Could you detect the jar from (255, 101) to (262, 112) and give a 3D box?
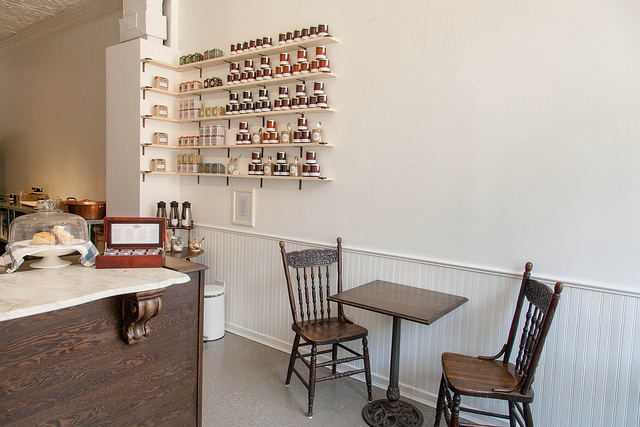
[{"bbox_3d":[-0.595,-1.039,4.287,0.099,0.094,0.095,1,2,0],"label":"jar"}]

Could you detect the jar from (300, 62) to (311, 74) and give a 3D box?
[{"bbox_3d":[-0.133,-1.330,4.011,0.094,0.104,0.076,0,14,-5],"label":"jar"}]

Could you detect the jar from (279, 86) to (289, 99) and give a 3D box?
[{"bbox_3d":[-0.345,-1.153,4.178,0.078,0.119,0.097,1,14,-3],"label":"jar"}]

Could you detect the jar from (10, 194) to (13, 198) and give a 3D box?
[{"bbox_3d":[-4.591,-0.270,6.593,0.055,0.092,0.054,0,-3,0],"label":"jar"}]

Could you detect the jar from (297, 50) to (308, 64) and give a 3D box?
[{"bbox_3d":[-0.164,-1.452,4.046,0.117,0.114,0.112,1,0,0],"label":"jar"}]

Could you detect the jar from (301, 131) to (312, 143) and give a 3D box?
[{"bbox_3d":[-0.129,-0.709,4.053,0.087,0.102,0.067,1,14,-3],"label":"jar"}]

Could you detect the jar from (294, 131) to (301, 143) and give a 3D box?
[{"bbox_3d":[-0.212,-0.710,4.084,0.047,0.113,0.087,-4,15,-22],"label":"jar"}]

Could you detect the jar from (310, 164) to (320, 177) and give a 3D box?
[{"bbox_3d":[-0.048,-0.398,4.047,0.088,0.114,0.083,2,14,0],"label":"jar"}]

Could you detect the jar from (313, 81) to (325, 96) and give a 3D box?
[{"bbox_3d":[-0.017,-1.134,4.004,0.116,0.120,0.112,0,3,0],"label":"jar"}]

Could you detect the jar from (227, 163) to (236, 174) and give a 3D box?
[{"bbox_3d":[-0.932,-0.472,4.576,0.102,0.105,0.103,2,14,0],"label":"jar"}]

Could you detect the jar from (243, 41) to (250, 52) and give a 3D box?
[{"bbox_3d":[-0.719,-1.627,4.291,0.088,0.093,0.036,13,19,39],"label":"jar"}]

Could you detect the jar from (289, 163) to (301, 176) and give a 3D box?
[{"bbox_3d":[-0.246,-0.419,4.175,0.105,0.114,0.119,-8,15,-38],"label":"jar"}]

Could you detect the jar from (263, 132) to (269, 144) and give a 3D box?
[{"bbox_3d":[-0.518,-0.730,4.242,0.092,0.109,0.036,15,20,42],"label":"jar"}]

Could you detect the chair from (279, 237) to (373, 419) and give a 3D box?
[{"bbox_3d":[0.055,0.890,3.791,0.785,1.317,1.030,-1,14,-9],"label":"chair"}]

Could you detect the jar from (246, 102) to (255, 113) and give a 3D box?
[{"bbox_3d":[-0.686,-1.042,4.347,0.100,0.096,0.098,1,2,0],"label":"jar"}]

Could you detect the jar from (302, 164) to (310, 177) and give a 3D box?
[{"bbox_3d":[-0.129,-0.399,4.061,0.090,0.115,0.053,7,16,20],"label":"jar"}]

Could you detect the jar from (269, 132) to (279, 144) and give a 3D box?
[{"bbox_3d":[-0.441,-0.729,4.224,0.075,0.110,0.119,3,4,37],"label":"jar"}]

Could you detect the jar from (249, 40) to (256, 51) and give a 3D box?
[{"bbox_3d":[-0.648,-1.628,4.251,0.046,0.099,0.085,-4,15,-22],"label":"jar"}]

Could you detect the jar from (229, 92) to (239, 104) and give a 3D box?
[{"bbox_3d":[-0.871,-1.178,4.486,0.082,0.110,0.122,-1,14,-9],"label":"jar"}]

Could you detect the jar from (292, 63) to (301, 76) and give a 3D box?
[{"bbox_3d":[-0.212,-1.334,4.046,0.090,0.106,0.036,15,20,42],"label":"jar"}]

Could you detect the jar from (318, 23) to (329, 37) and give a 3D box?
[{"bbox_3d":[0.023,-1.626,3.899,0.078,0.111,0.059,0,15,-5],"label":"jar"}]

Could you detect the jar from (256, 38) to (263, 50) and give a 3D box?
[{"bbox_3d":[-0.576,-1.629,4.211,0.061,0.105,0.100,-1,14,-10],"label":"jar"}]

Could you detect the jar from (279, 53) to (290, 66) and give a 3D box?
[{"bbox_3d":[-0.332,-1.464,4.162,0.088,0.126,0.111,1,14,-4],"label":"jar"}]

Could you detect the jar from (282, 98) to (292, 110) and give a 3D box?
[{"bbox_3d":[-0.315,-1.039,4.152,0.075,0.105,0.136,0,14,-8],"label":"jar"}]

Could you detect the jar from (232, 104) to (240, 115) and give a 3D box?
[{"bbox_3d":[-0.842,-1.054,4.434,0.073,0.100,0.073,2,14,0],"label":"jar"}]

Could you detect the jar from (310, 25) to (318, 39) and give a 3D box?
[{"bbox_3d":[-0.056,-1.624,3.938,0.066,0.111,0.092,1,14,-3],"label":"jar"}]

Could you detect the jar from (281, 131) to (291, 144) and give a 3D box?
[{"bbox_3d":[-0.323,-0.731,4.196,0.089,0.112,0.181,0,14,-5],"label":"jar"}]

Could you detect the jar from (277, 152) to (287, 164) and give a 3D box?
[{"bbox_3d":[-0.365,-0.531,4.179,0.102,0.101,0.100,1,0,0],"label":"jar"}]

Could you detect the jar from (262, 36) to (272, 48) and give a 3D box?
[{"bbox_3d":[-0.503,-1.649,4.221,0.090,0.112,0.167,0,14,-7],"label":"jar"}]

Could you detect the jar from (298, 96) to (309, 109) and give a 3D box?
[{"bbox_3d":[-0.149,-1.015,4.028,0.110,0.095,0.105,0,4,0],"label":"jar"}]

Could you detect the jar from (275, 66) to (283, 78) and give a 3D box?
[{"bbox_3d":[-0.382,-1.334,4.130,0.094,0.105,0.054,6,15,17],"label":"jar"}]

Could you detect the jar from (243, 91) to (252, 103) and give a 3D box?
[{"bbox_3d":[-0.714,-1.147,4.329,0.105,0.105,0.105,0,5,0],"label":"jar"}]

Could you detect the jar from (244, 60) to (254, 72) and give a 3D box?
[{"bbox_3d":[-0.703,-1.471,4.377,0.090,0.121,0.130,0,14,-6],"label":"jar"}]
